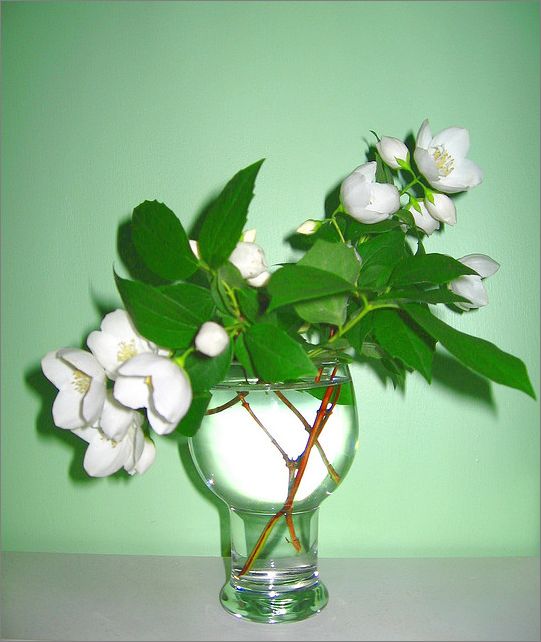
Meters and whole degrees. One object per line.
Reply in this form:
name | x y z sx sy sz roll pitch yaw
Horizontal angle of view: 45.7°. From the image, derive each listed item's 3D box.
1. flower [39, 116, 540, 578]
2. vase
flower | 0.038 0.026 0.731 0.472 0.513 0.452 1 5 17
vase | 0.004 0.200 0.741 0.190 0.236 0.180 7 -15 -36
